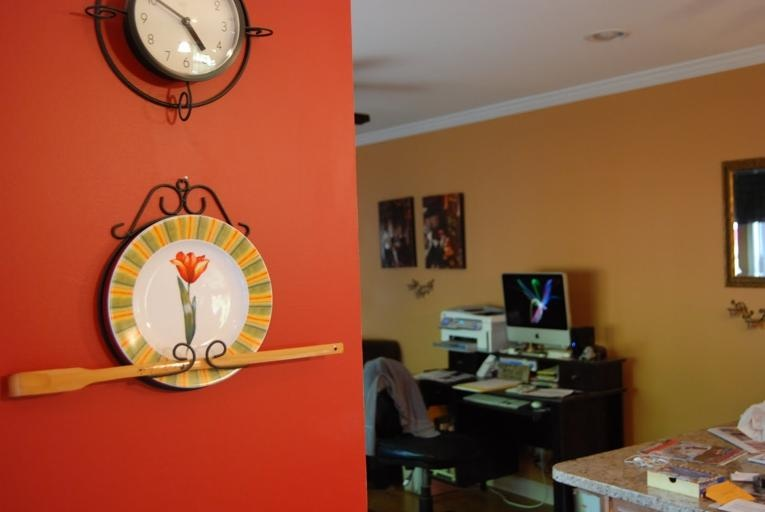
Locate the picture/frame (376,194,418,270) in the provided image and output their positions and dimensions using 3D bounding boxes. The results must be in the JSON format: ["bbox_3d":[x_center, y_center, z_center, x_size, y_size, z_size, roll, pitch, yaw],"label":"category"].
[{"bbox_3d":[0.128,-0.205,6.294,0.075,0.569,0.498,-2,-1,-35],"label":"picture/frame"}]

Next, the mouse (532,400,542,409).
[{"bbox_3d":[1.009,0.970,4.448,0.063,0.048,0.080,-2,-1,15],"label":"mouse"}]

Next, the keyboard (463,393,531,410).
[{"bbox_3d":[0.779,0.982,4.601,0.453,0.081,0.180,-4,-2,43],"label":"keyboard"}]

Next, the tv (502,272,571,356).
[{"bbox_3d":[1.131,0.414,4.889,0.207,0.573,0.591,-2,-3,-44],"label":"tv"}]

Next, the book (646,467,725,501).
[{"bbox_3d":[1.187,0.881,2.668,0.282,0.120,0.156,-3,-1,24],"label":"book"}]
